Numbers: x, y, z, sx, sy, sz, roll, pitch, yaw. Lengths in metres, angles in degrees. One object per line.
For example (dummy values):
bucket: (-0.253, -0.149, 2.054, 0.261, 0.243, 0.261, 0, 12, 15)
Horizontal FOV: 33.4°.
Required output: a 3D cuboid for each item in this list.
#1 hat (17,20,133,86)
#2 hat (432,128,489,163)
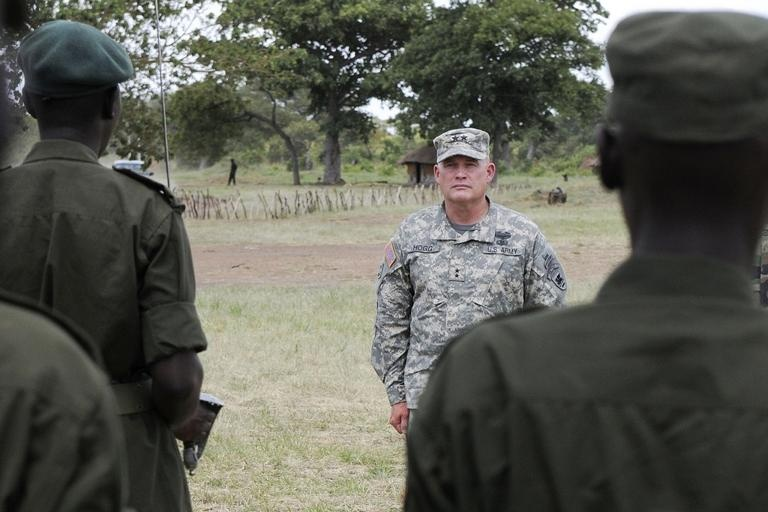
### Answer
hat: (-1.030, -0.659, 4.236, 0.358, 0.138, 0.308, 18, 32, 11)
hat: (0.342, -0.526, 5.908, 0.286, 0.131, 0.403, -3, 10, 2)
